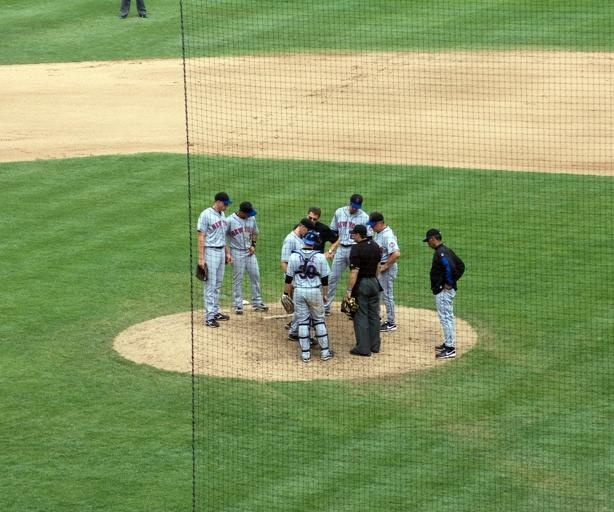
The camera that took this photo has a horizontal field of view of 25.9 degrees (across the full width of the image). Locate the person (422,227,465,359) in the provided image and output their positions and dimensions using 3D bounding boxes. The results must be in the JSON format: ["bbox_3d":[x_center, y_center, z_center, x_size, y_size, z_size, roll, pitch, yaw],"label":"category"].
[{"bbox_3d":[2.495,0.678,23.678,0.579,2.173,0.828,-3,17,6],"label":"person"}]

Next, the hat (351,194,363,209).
[{"bbox_3d":[0.917,-1.016,24.733,0.194,0.159,0.275,12,38,-20],"label":"hat"}]

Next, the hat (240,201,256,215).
[{"bbox_3d":[-1.104,-0.886,24.893,0.283,0.164,0.206,27,43,7],"label":"hat"}]

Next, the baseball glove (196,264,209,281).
[{"bbox_3d":[-1.914,0.317,24.556,0.140,0.390,0.299,1,18,20],"label":"baseball glove"}]

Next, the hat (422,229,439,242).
[{"bbox_3d":[2.220,-0.355,23.765,0.279,0.163,0.204,-2,5,23],"label":"hat"}]

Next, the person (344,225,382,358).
[{"bbox_3d":[1.028,0.621,23.830,0.616,2.238,0.815,-3,17,7],"label":"person"}]

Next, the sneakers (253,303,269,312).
[{"bbox_3d":[-0.869,1.005,25.429,0.301,0.138,0.121,-1,7,6],"label":"sneakers"}]

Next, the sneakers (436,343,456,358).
[{"bbox_3d":[2.407,1.718,23.735,0.492,0.225,0.164,2,1,-8],"label":"sneakers"}]

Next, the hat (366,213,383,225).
[{"bbox_3d":[1.256,-0.699,24.444,0.267,0.232,0.336,-3,17,5],"label":"hat"}]

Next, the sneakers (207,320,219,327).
[{"bbox_3d":[-1.738,1.261,24.632,0.208,0.089,0.109,4,10,39],"label":"sneakers"}]

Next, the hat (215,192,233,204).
[{"bbox_3d":[-1.548,-1.058,24.776,0.287,0.254,0.378,-6,17,-3],"label":"hat"}]

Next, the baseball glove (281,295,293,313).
[{"bbox_3d":[-0.340,0.879,24.221,0.198,0.326,0.095,-9,19,0],"label":"baseball glove"}]

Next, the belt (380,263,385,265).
[{"bbox_3d":[1.401,0.159,24.559,0.084,0.046,0.056,-4,-8,-35],"label":"belt"}]

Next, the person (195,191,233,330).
[{"bbox_3d":[-1.719,0.074,24.701,0.527,2.343,0.985,1,18,19],"label":"person"}]

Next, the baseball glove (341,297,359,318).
[{"bbox_3d":[0.776,0.940,23.822,0.239,0.390,0.200,-4,-15,4],"label":"baseball glove"}]

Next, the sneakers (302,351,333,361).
[{"bbox_3d":[0.203,1.781,23.720,0.571,0.263,0.191,-2,18,2],"label":"sneakers"}]

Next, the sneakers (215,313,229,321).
[{"bbox_3d":[-1.576,1.149,24.868,0.276,0.118,0.101,0,23,-10],"label":"sneakers"}]

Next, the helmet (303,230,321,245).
[{"bbox_3d":[0.087,-0.314,23.698,0.214,0.258,0.278,8,25,0],"label":"helmet"}]

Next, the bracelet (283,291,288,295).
[{"bbox_3d":[-0.372,0.676,24.061,0.063,0.062,0.063,-9,43,-12],"label":"bracelet"}]

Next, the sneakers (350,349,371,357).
[{"bbox_3d":[0.962,1.727,23.890,0.355,0.150,0.133,9,18,23],"label":"sneakers"}]

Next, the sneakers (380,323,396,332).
[{"bbox_3d":[1.496,1.335,24.609,0.322,0.147,0.114,2,0,-24],"label":"sneakers"}]

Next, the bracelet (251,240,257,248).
[{"bbox_3d":[-1.005,-0.196,25.262,0.091,0.109,0.101,-1,3,0],"label":"bracelet"}]

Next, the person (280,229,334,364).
[{"bbox_3d":[0.041,0.723,23.686,0.805,2.216,0.850,-5,17,-1],"label":"person"}]

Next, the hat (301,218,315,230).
[{"bbox_3d":[0.028,-0.564,24.054,0.219,0.126,0.157,7,25,-36],"label":"hat"}]
